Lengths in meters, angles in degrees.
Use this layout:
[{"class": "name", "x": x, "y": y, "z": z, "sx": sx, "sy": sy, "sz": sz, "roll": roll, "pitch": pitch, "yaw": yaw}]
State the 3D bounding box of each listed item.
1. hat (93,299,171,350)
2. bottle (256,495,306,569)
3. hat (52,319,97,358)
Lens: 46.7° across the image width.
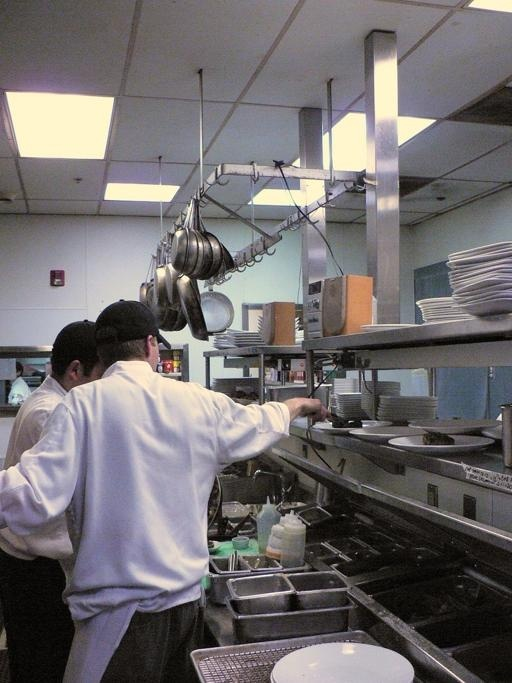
[{"class": "hat", "x": -0.302, "y": -0.049, "z": 1.434, "sx": 0.137, "sy": 0.078, "sz": 0.099, "roll": 1, "pitch": 0, "yaw": -45}, {"class": "bottle", "x": 0.038, "y": 0.649, "z": 1.958, "sx": 0.131, "sy": 0.198, "sz": 0.204, "roll": 3, "pitch": -9, "yaw": -10}, {"class": "hat", "x": -0.553, "y": -0.011, "z": 1.867, "sx": 0.149, "sy": 0.086, "sz": 0.115, "roll": 8, "pitch": 9, "yaw": 7}]
